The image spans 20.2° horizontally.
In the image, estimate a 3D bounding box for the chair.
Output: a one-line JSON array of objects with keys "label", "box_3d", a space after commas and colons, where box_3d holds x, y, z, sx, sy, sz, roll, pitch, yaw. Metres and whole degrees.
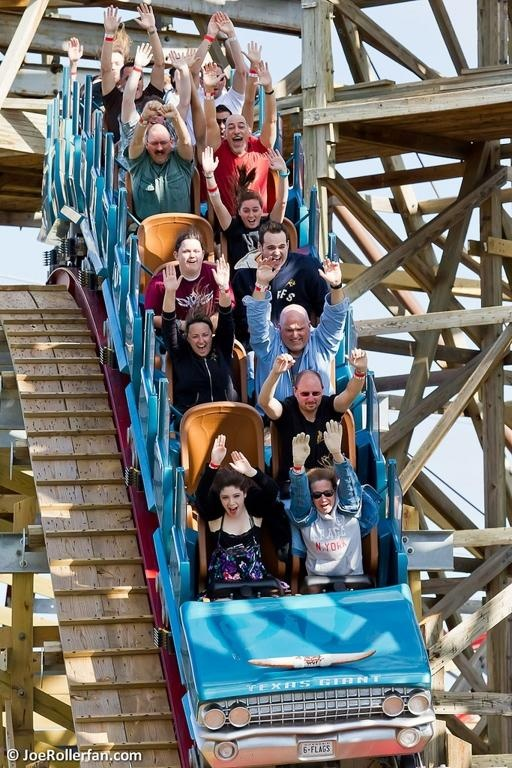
[{"label": "chair", "box_3d": [0.159, 0.208, 7.148, 1.202, 1.912, 1.480, 1, -20, -16]}]

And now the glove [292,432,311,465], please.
[{"label": "glove", "box_3d": [0.210, 0.313, 6.730, 0.075, 0.162, 0.178, -1, -5, 0]}]
